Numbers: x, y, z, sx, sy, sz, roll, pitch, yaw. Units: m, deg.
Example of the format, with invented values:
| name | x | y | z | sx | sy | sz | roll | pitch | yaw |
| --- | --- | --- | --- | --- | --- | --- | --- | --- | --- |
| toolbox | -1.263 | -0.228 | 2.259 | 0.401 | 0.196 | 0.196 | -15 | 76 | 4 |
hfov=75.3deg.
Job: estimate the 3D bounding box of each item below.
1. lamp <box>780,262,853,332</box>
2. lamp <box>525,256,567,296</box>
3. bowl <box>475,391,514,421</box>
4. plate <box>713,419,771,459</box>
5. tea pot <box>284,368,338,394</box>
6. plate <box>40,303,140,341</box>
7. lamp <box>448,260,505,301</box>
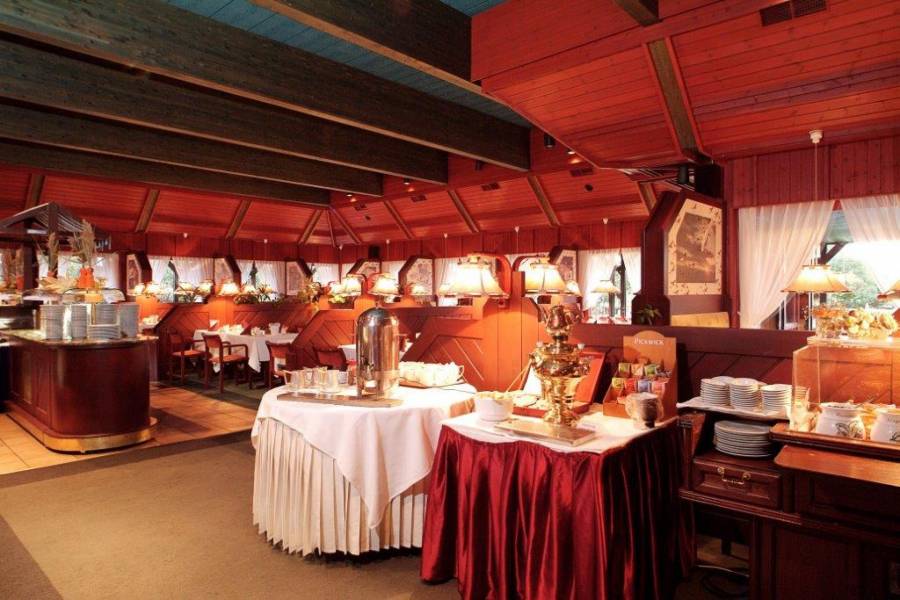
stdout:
| name | x | y | z | sx | sy | sz | roll | pitch | yaw |
| --- | --- | --- | --- | --- | --- | --- | --- | --- | --- |
| lamp | 3.841 | -0.116 | 5.930 | 0.597 | 0.439 | 0.509 | -14 | 9 | -6 |
| lamp | 0.843 | -0.212 | 5.068 | 0.407 | 0.224 | 0.370 | -1 | 1 | -15 |
| bowl | 0.324 | 0.756 | 4.192 | 0.247 | 0.120 | 0.224 | -2 | 4 | -29 |
| plate | 2.030 | 0.964 | 4.015 | 0.316 | 0.098 | 0.259 | 2 | -2 | -24 |
| tea pot | -1.174 | 0.680 | 4.881 | 0.375 | 0.105 | 0.227 | -2 | -5 | 37 |
| plate | -4.286 | 0.259 | 6.840 | 1.036 | 0.449 | 0.571 | 0 | 13 | -3 |
| lamp | 0.245 | -0.154 | 4.820 | 0.366 | 0.356 | 0.528 | 7 | 14 | 25 |
